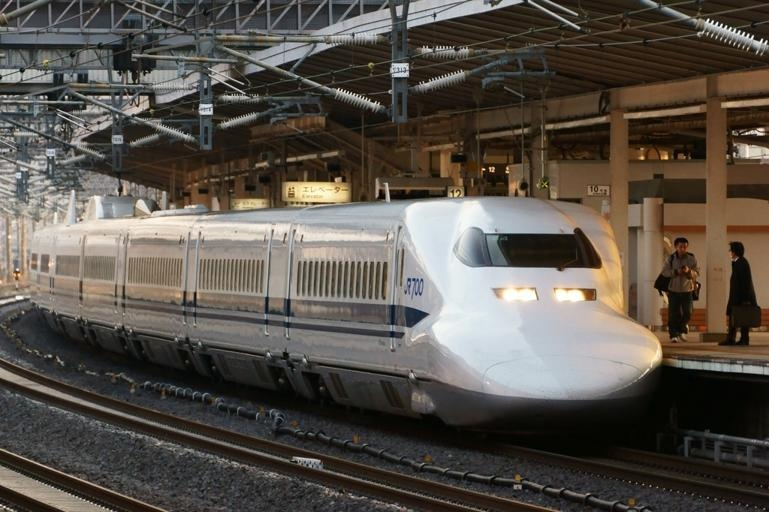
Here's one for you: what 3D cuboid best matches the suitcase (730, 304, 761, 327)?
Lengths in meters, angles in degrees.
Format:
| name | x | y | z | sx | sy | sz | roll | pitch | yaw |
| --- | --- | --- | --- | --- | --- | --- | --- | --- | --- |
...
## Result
| name | x | y | z | sx | sy | sz | roll | pitch | yaw |
| --- | --- | --- | --- | --- | --- | --- | --- | --- | --- |
| suitcase | 7.336 | 1.217 | 18.297 | 0.474 | 0.399 | 0.167 | 0 | 5 | 5 |

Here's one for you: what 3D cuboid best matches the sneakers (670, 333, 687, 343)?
| name | x | y | z | sx | sy | sz | roll | pitch | yaw |
| --- | --- | --- | --- | --- | --- | --- | --- | --- | --- |
| sneakers | 6.444 | 1.782 | 19.717 | 0.201 | 0.250 | 0.602 | 2 | 2 | 27 |

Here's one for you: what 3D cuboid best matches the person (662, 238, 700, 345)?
| name | x | y | z | sx | sy | sz | roll | pitch | yaw |
| --- | --- | --- | --- | --- | --- | --- | --- | --- | --- |
| person | 6.288 | 0.758 | 19.213 | 0.583 | 2.271 | 0.498 | 0 | 6 | 31 |

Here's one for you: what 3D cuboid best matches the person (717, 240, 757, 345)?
| name | x | y | z | sx | sy | sz | roll | pitch | yaw |
| --- | --- | --- | --- | --- | --- | --- | --- | --- | --- |
| person | 7.494 | 0.796 | 18.973 | 0.735 | 2.250 | 1.592 | -1 | 5 | 20 |
